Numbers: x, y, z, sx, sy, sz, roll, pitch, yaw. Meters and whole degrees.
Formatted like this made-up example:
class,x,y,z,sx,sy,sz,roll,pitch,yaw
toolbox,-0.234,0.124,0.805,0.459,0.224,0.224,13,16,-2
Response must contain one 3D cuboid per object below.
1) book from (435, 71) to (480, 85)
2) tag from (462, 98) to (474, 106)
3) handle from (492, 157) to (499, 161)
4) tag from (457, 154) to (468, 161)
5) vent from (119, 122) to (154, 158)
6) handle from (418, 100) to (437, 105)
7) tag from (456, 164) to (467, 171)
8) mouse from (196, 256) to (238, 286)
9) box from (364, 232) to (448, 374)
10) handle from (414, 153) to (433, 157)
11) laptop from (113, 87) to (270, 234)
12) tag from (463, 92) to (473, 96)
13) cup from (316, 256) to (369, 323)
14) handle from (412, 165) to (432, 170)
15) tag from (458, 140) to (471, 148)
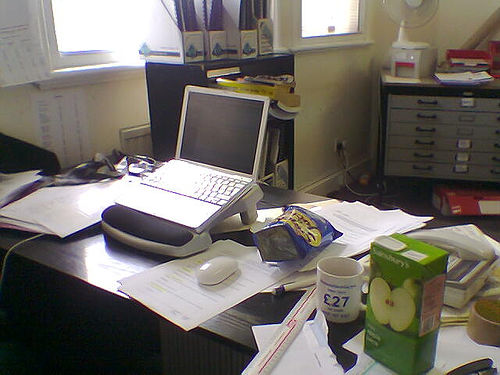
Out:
class,x,y,z,sx,sy,sz,roll,pitch,yaw
book,1.270,-0.673,2.481,0.232,0.054,0.198,6,26,14
tag,1.320,-0.520,2.449,0.067,0.048,0.016,9,27,21
handle,1.532,-0.181,2.522,0.036,0.018,0.008,13,28,27
tag,1.351,-0.195,2.570,0.063,0.046,0.035,16,30,35
vent,-0.535,-0.229,1.881,0.019,0.152,0.152,10,23,41
handle,1.108,-0.535,2.524,0.108,0.031,0.004,7,26,16
tag,1.361,-0.130,2.599,0.063,0.046,0.035,7,10,44
mouse,-0.089,0.193,0.971,0.055,0.025,0.080,18,28,36
box,0.276,0.207,0.728,0.139,0.213,0.115,14,29,31
handle,1.136,-0.211,2.642,0.106,0.029,0.019,2,51,21
laptop,-0.165,-0.107,1.178,0.443,0.253,0.456,-5,29,1
tag,1.306,-0.563,2.422,0.052,0.023,0.009,12,28,25
cup,0.216,0.219,0.896,0.148,0.105,0.091,-8,15,-37
handle,1.141,-0.135,2.671,0.141,0.037,0.023,1,47,22
tag,1.350,-0.277,2.547,0.073,0.053,0.041,14,25,41
